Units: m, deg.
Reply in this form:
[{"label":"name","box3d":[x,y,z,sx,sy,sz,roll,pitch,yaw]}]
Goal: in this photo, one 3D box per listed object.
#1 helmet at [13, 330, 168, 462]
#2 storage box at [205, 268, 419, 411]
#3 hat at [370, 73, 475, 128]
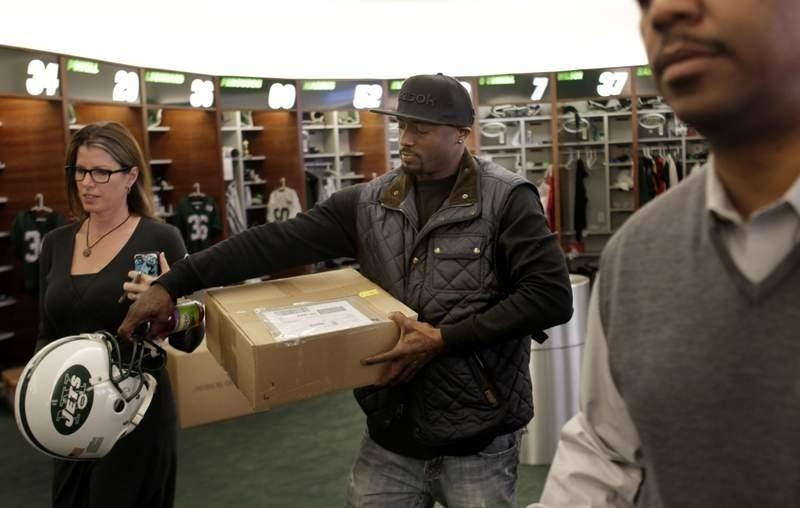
[{"label":"helmet","box3d":[-1.187,0.551,2.222,0.431,0.436,0.552,1,2,38]},{"label":"storage box","box3d":[-0.346,0.277,2.067,0.653,0.317,0.586,-6,10,-23]},{"label":"hat","box3d":[0.094,-0.596,2.169,0.287,0.240,0.458,13,18,32]}]
